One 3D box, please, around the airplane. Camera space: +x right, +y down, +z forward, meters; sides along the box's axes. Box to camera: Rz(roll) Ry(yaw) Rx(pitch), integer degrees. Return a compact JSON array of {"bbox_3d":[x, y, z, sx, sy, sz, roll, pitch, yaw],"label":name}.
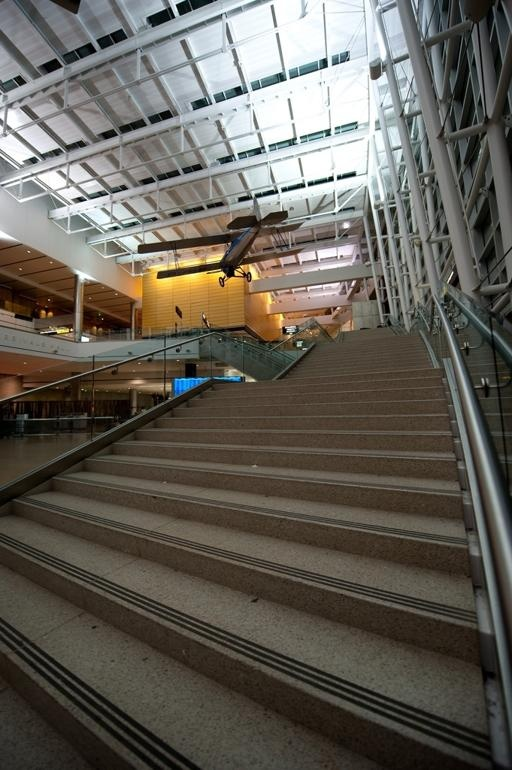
[{"bbox_3d":[-0.777,-4.156,14.538,4.191,1.514,3.364,-13,2,-9],"label":"airplane"}]
